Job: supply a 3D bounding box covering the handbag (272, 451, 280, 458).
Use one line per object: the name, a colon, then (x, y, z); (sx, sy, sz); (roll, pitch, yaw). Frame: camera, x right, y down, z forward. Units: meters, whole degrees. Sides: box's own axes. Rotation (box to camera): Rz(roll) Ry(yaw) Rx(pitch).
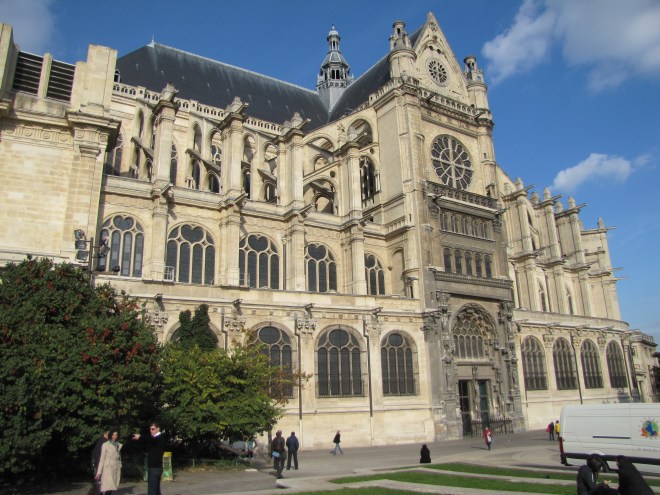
handbag: (-2.529, 9.754, 25.550); (0.385, 0.288, 0.262); (12, -22, -37)
